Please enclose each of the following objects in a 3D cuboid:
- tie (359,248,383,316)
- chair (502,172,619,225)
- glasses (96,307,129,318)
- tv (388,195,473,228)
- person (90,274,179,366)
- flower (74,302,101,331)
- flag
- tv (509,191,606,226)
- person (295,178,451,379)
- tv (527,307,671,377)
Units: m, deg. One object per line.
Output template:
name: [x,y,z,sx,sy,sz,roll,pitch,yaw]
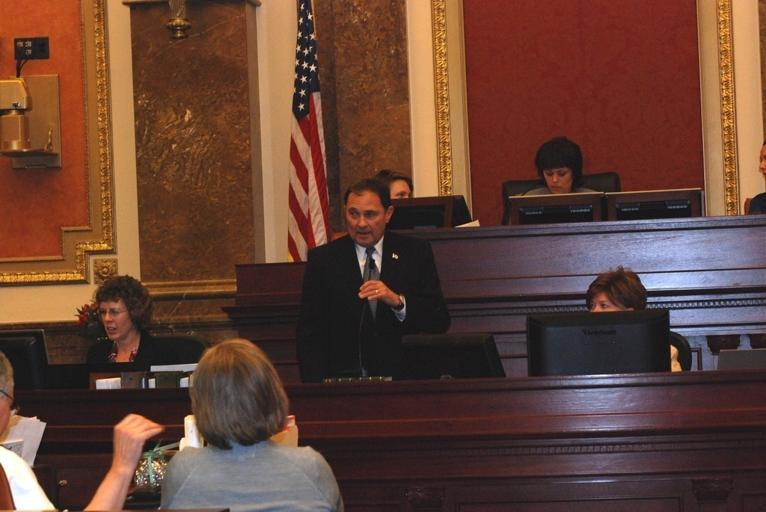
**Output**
tie: [-0.088,0.177,11.369,0.130,0.447,0.063,0,2,-2]
chair: [1.335,-0.505,12.622,1.032,0.386,0.518,5,12,17]
glasses: [-1.962,0.418,11.946,0.228,0.082,0.063,0,5,18]
tv: [0.343,-0.297,12.343,0.448,0.123,0.300,-1,-10,13]
person: [-1.826,0.496,11.988,0.526,0.662,0.496,5,12,2]
flower: [-2.364,0.490,13.182,0.262,0.198,0.240,4,-8,-21]
flag: [-0.590,-0.969,13.147,0.249,1.995,0.341,2,9,18]
tv: [1.255,-0.342,12.041,0.490,0.098,0.303,-1,-2,13]
person: [-0.104,0.269,11.315,0.752,1.586,0.705,0,-1,-6]
tv: [1.331,0.540,10.269,0.875,0.399,0.093,-1,5,3]
